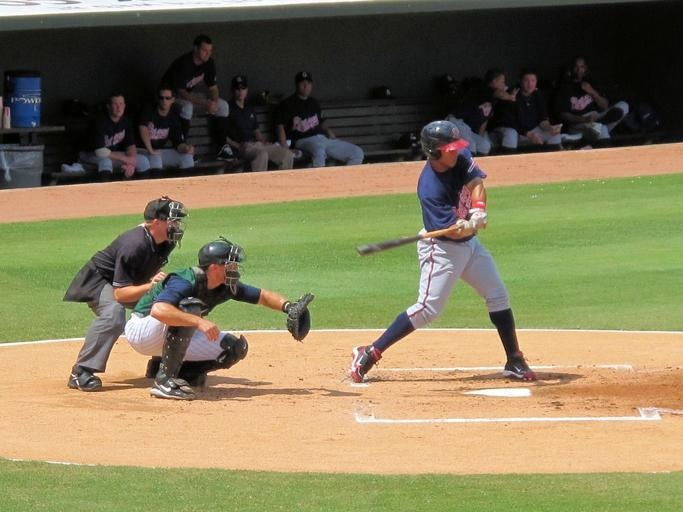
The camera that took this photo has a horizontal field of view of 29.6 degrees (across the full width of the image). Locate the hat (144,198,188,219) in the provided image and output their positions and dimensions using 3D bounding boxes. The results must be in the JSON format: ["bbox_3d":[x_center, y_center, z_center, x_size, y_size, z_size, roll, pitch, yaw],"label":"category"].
[{"bbox_3d":[-1.384,-0.369,10.109,0.283,0.113,0.181,-5,6,1],"label":"hat"}]

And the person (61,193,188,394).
[{"bbox_3d":[-1.596,0.274,10.398,1.262,1.414,1.157,-11,15,-35],"label":"person"}]

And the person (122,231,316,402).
[{"bbox_3d":[-0.961,0.488,10.096,1.636,1.063,0.867,4,1,-3],"label":"person"}]

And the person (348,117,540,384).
[{"bbox_3d":[0.820,-0.010,10.212,1.423,2.071,0.498,0,6,5],"label":"person"}]

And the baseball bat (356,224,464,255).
[{"bbox_3d":[0.598,-0.130,11.527,1.133,0.096,0.107,-11,-15,-1],"label":"baseball bat"}]

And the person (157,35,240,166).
[{"bbox_3d":[-1.873,-2.030,16.644,0.937,1.498,1.273,-7,22,-41],"label":"person"}]

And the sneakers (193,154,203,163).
[{"bbox_3d":[-1.893,-1.256,16.980,0.155,0.057,0.179,0,16,-3],"label":"sneakers"}]

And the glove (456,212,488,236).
[{"bbox_3d":[1.035,-0.247,10.015,0.309,0.196,0.126,-5,7,-39],"label":"glove"}]

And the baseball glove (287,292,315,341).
[{"bbox_3d":[-0.359,0.478,10.063,0.200,0.392,0.162,6,-16,35],"label":"baseball glove"}]

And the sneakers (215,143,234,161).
[{"bbox_3d":[-1.503,-1.305,16.624,0.283,0.229,0.157,-12,32,-1],"label":"sneakers"}]

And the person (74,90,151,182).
[{"bbox_3d":[-2.773,-1.434,15.692,0.829,1.012,0.511,-1,6,-9],"label":"person"}]

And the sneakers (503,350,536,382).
[{"bbox_3d":[1.488,0.907,10.350,0.374,0.195,0.134,6,7,36],"label":"sneakers"}]

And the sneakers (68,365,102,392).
[{"bbox_3d":[-2.020,0.973,10.121,0.328,0.130,0.134,4,14,35],"label":"sneakers"}]

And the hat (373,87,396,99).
[{"bbox_3d":[0.583,-2.384,19.161,0.289,0.166,0.349,-4,7,0],"label":"hat"}]

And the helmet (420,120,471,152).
[{"bbox_3d":[0.828,-0.937,10.106,0.443,0.211,0.325,8,27,42],"label":"helmet"}]

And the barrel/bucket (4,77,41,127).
[{"bbox_3d":[-3.785,-1.822,15.297,0.412,0.673,0.370,-2,6,-13],"label":"barrel/bucket"}]

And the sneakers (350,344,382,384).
[{"bbox_3d":[0.175,0.857,10.303,0.240,0.399,0.139,13,38,-7],"label":"sneakers"}]

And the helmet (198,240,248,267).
[{"bbox_3d":[-0.920,-0.013,9.875,0.324,0.132,0.199,-9,16,-2],"label":"helmet"}]

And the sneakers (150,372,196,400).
[{"bbox_3d":[-1.247,1.020,10.023,0.448,0.219,0.149,1,0,1],"label":"sneakers"}]

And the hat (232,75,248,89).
[{"bbox_3d":[-1.336,-2.222,16.838,0.207,0.118,0.257,-5,-10,-2],"label":"hat"}]
